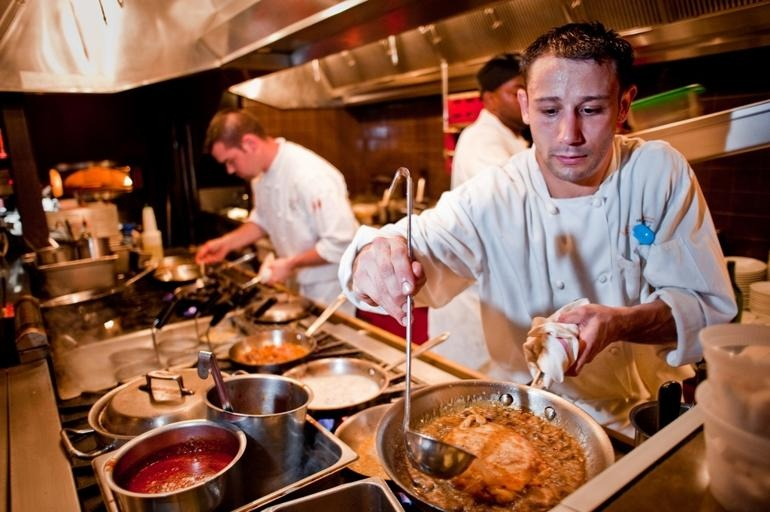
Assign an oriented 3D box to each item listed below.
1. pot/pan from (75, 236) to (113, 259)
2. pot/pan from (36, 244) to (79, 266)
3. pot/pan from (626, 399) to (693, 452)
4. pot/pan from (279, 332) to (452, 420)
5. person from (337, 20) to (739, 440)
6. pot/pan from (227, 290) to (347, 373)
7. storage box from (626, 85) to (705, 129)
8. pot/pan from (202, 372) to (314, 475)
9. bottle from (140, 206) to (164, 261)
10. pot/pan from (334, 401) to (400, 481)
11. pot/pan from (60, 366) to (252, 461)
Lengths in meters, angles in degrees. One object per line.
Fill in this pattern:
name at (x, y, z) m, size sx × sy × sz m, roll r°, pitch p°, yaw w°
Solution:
pot/pan at (-1.676, -0.049, 3.395) m, size 0.119 × 0.119 × 0.123 m, roll -3°, pitch 8°, yaw -30°
pot/pan at (-1.785, 0.002, 3.192) m, size 0.122 × 0.089 × 0.122 m, roll -3°, pitch 0°, yaw 4°
pot/pan at (0.878, 0.536, 1.960) m, size 0.142 × 0.146 × 0.213 m, roll -12°, pitch 10°, yaw -21°
pot/pan at (-0.171, 0.496, 2.375) m, size 0.506 × 0.074 × 0.292 m, roll -7°, pitch 9°, yaw -43°
person at (0.650, 0.165, 2.467) m, size 1.381 × 1.955 × 0.916 m, roll -13°, pitch 24°, yaw -1°
pot/pan at (-0.427, 0.312, 2.587) m, size 0.274 × 0.077 × 0.506 m, roll 5°, pitch 19°, yaw 42°
storage box at (1.444, -0.742, 3.045) m, size 0.323 × 0.110 × 0.233 m, roll -14°, pitch -4°, yaw 36°
pot/pan at (-0.426, 0.537, 2.019) m, size 0.318 × 0.238 × 0.311 m, roll -7°, pitch 16°, yaw -31°
bottle at (-1.516, -0.144, 3.800) m, size 0.125 × 0.331 × 0.278 m, roll -11°, pitch 11°, yaw -23°
pot/pan at (-0.063, 0.633, 2.054) m, size 0.227 × 0.047 × 0.223 m, roll -9°, pitch 18°, yaw -32°
pot/pan at (-0.881, 0.537, 2.124) m, size 0.322 × 0.189 × 0.448 m, roll 10°, pitch 19°, yaw 40°
